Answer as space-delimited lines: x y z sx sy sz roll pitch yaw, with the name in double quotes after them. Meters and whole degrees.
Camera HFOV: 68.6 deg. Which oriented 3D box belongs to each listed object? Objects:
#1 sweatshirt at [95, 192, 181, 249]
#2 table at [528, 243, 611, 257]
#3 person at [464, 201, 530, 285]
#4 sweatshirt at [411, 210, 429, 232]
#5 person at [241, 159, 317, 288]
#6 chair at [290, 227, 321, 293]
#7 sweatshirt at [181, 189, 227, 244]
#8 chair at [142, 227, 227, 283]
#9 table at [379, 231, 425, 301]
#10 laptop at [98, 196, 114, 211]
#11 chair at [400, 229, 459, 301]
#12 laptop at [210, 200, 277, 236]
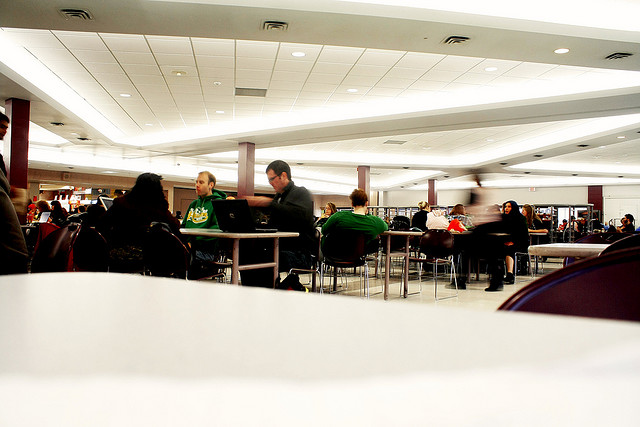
-1.330 0.062 3.471 0.711 0.401 0.265 0 -4 21 "sweatshirt"
1.088 0.165 2.113 0.276 0.062 0.444 0 -4 25 "table"
2.474 0.365 6.253 0.480 1.100 1.090 -2 -5 38 "person"
1.670 0.124 7.838 0.372 0.427 0.249 2 -7 8 "sweatshirt"
-0.362 0.134 3.856 0.666 1.100 0.600 6 -2 -41 "person"
-0.146 0.429 4.055 0.364 0.513 0.312 -8 2 -6 "chair"
-1.072 -0.002 4.092 0.305 0.387 0.449 29 14 40 "sweatshirt"
-0.956 0.268 3.120 0.431 0.343 0.381 -1 -5 36 "chair"
0.905 0.589 5.298 0.734 0.682 0.619 0 -7 -6 "table"
-2.154 -0.103 4.714 0.014 0.187 0.183 -35 -16 11 "laptop"
1.237 0.543 5.301 0.676 0.701 0.625 1 0 10 "chair"
-0.478 0.027 3.000 0.474 0.216 0.382 -3 4 -11 "laptop"
